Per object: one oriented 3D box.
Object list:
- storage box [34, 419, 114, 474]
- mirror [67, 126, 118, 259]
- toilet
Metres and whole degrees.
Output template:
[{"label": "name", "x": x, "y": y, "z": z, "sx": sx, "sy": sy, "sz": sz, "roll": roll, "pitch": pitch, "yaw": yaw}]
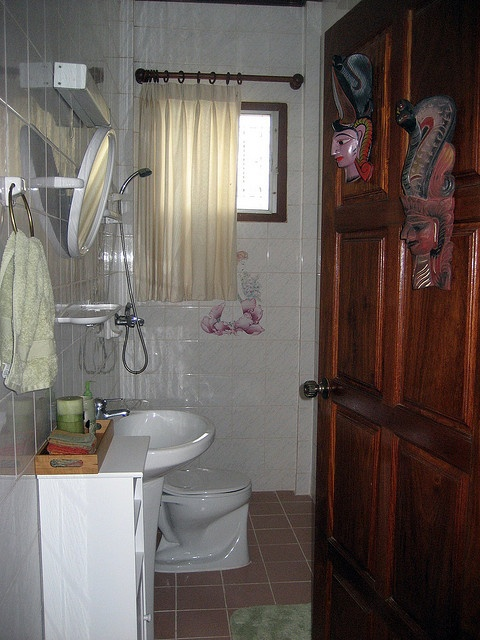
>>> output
[{"label": "storage box", "x": -0.402, "y": 0.313, "z": 1.328, "sx": 0.132, "sy": 0.086, "sz": 0.351, "roll": -1, "pitch": 5, "yaw": -9}, {"label": "mirror", "x": -0.324, "y": -0.289, "z": 1.159, "sx": 0.102, "sy": 0.296, "sz": 0.296, "roll": -1, "pitch": 5, "yaw": -15}, {"label": "toilet", "x": -0.161, "y": 0.884, "z": 2.465, "sx": 0.365, "sy": 0.509, "sz": 0.341, "roll": -1, "pitch": 3, "yaw": -7}]
